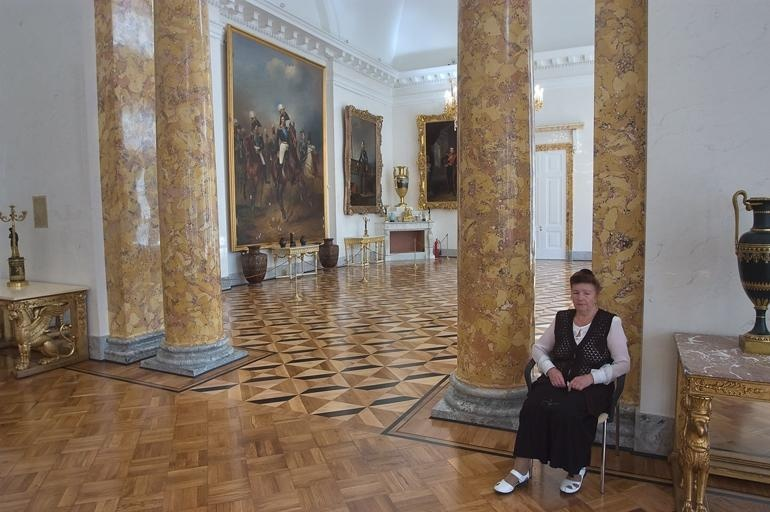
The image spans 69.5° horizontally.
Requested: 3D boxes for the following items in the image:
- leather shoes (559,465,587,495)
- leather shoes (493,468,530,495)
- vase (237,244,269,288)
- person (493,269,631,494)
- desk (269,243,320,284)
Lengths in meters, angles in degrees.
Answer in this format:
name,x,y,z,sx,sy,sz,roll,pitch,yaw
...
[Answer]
name,x,y,z,sx,sy,sz,roll,pitch,yaw
leather shoes,1.728,2.096,5.134,0.146,0.102,0.386,-10,0,34
leather shoes,1.169,2.094,5.140,0.346,0.143,0.150,1,-8,-37
vase,-3.349,0.239,13.993,0.624,1.004,0.417,-4,12,-16
person,1.745,1.035,5.096,0.852,1.706,0.865,6,13,28
desk,-2.508,0.187,15.392,0.863,1.071,1.570,1,3,27
